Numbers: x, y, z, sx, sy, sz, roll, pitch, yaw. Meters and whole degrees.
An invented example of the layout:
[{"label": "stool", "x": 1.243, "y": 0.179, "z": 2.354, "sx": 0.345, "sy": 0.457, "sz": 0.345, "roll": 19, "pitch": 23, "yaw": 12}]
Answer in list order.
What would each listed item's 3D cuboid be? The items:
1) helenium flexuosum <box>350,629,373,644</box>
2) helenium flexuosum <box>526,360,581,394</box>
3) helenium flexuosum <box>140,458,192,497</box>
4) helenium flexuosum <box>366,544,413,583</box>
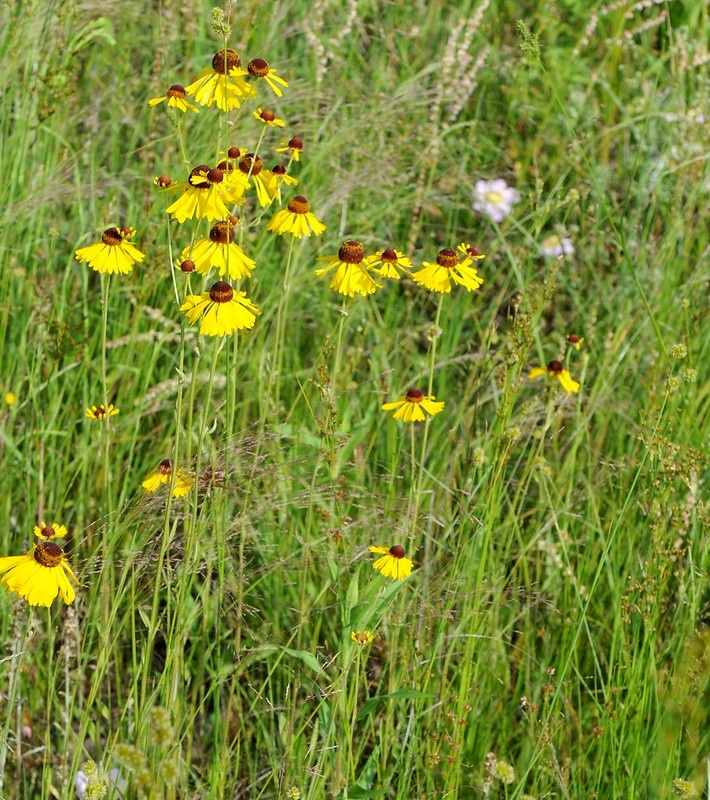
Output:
[{"label": "helenium flexuosum", "x": 0.016, "y": 0.535, "z": 2.637, "sx": 0.031, "sy": 0.021, "sz": 0.036, "roll": 8, "pitch": 15, "yaw": 24}, {"label": "helenium flexuosum", "x": 0.513, "y": -0.049, "z": 2.999, "sx": 0.099, "sy": 0.061, "sz": 0.100, "roll": 37, "pitch": 34, "yaw": 21}, {"label": "helenium flexuosum", "x": -0.422, "y": 0.182, "z": 2.666, "sx": 0.077, "sy": 0.051, "sz": 0.105, "roll": 5, "pitch": 65, "yaw": -6}, {"label": "helenium flexuosum", "x": 0.090, "y": 0.401, "z": 2.743, "sx": 0.079, "sy": 0.049, "sz": 0.100, "roll": -8, "pitch": 45, "yaw": -23}]
